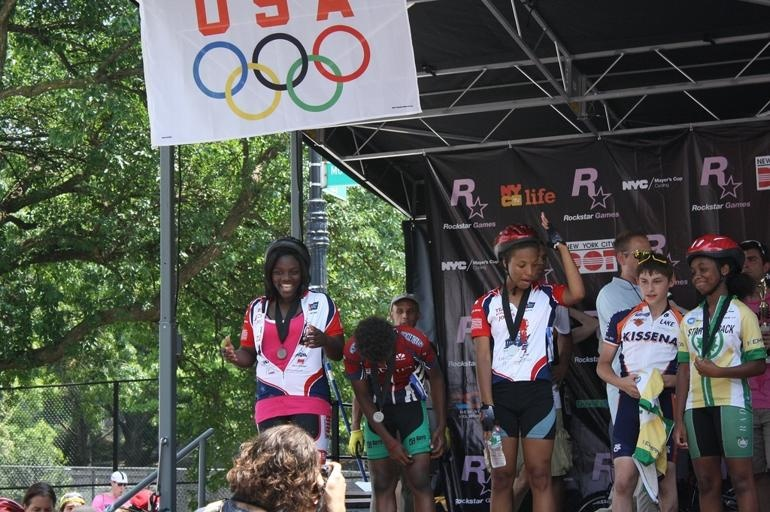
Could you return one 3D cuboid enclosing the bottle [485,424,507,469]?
[{"bbox_3d":[1.280,2.220,12.812,0.238,0.484,0.149,-4,-10,5],"label":"bottle"}]

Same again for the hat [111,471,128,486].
[{"bbox_3d":[-3.907,3.293,16.232,0.220,0.235,0.356,-1,-12,-15],"label":"hat"}]

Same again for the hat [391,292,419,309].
[{"bbox_3d":[0.257,0.543,14.368,0.315,0.236,0.588,-4,-11,2],"label":"hat"}]

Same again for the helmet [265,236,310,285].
[{"bbox_3d":[-1.116,0.060,12.624,0.409,0.579,0.561,1,7,-6],"label":"helmet"}]

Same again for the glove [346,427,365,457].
[{"bbox_3d":[-0.350,2.296,13.632,0.180,0.349,0.566,-3,-11,-3],"label":"glove"}]

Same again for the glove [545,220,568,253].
[{"bbox_3d":[2.067,-0.264,13.478,0.240,0.379,0.111,-36,-29,26],"label":"glove"}]
